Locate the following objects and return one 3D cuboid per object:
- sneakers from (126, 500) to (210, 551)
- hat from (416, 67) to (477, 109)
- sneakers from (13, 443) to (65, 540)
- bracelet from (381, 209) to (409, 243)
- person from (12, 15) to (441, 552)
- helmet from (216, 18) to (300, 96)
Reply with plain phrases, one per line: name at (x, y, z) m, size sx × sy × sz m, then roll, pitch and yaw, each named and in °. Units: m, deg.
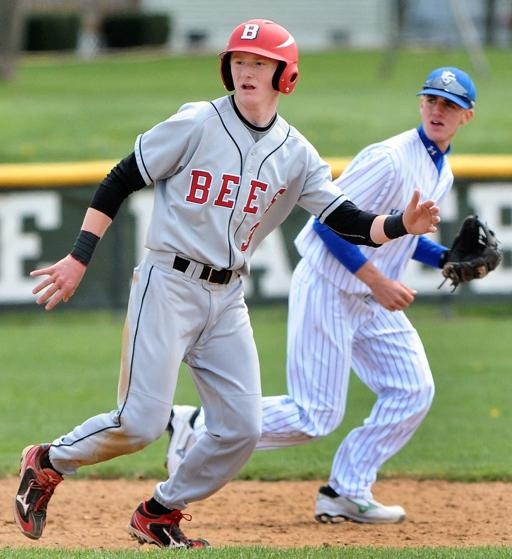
sneakers at (-0.363, 1.070, 3.790) m, size 0.391 × 0.146 × 0.120 m, roll 12°, pitch -4°, yaw 21°
hat at (0.901, -0.942, 4.246) m, size 0.303 × 0.149 × 0.334 m, roll 13°, pitch 20°, yaw 2°
sneakers at (-0.932, 0.879, 3.677) m, size 0.236 × 0.417 × 0.173 m, roll -23°, pitch -24°, yaw 39°
bracelet at (0.562, -0.217, 3.536) m, size 0.111 × 0.087 × 0.102 m, roll 1°, pitch -4°, yaw 9°
person at (-0.209, 0.068, 3.602) m, size 1.437 × 2.217 × 0.442 m, roll 2°, pitch 12°, yaw -12°
helmet at (0.005, -0.906, 3.556) m, size 0.321 × 0.302 × 0.279 m, roll 5°, pitch 10°, yaw 2°
